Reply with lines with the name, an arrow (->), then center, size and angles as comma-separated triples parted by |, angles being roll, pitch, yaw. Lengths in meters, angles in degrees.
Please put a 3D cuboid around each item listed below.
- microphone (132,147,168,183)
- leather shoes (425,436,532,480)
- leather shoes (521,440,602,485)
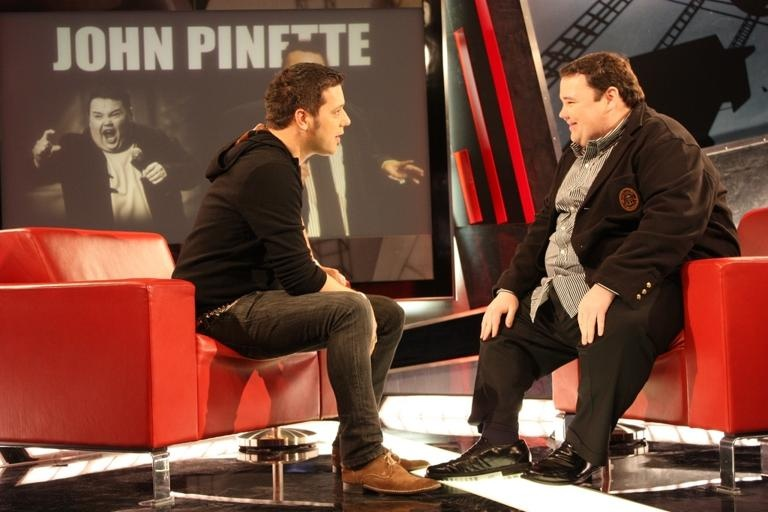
microphone -> -1.471, -0.576, 4.996 | 0.177, 0.246, 0.088 | -45, 7, 7
leather shoes -> 0.421, 0.857, 3.415 | 0.484, 0.196, 0.165 | 1, -7, -6
leather shoes -> 0.704, 0.821, 3.200 | 0.278, 0.104, 0.148 | 2, -5, -31
